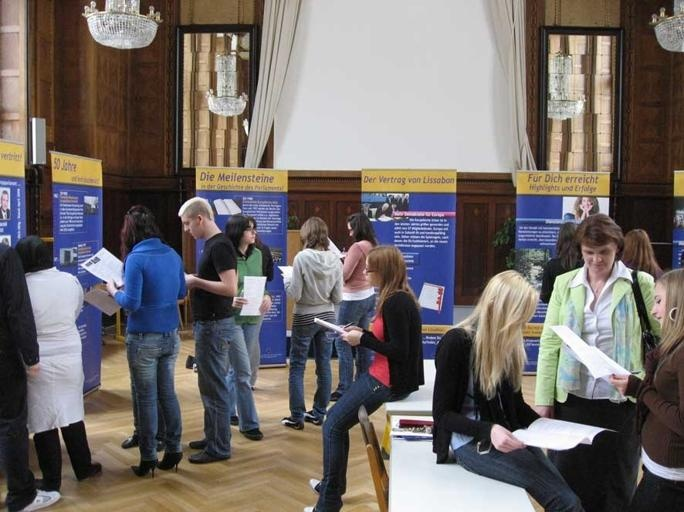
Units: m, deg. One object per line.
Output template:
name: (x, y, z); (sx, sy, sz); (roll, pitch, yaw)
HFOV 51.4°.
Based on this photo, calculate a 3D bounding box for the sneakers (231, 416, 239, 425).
sneakers: (-1.026, 1.570, 6.792); (0.066, 0.093, 0.216); (2, -11, -2)

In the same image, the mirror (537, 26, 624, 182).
mirror: (3.634, -2.337, 10.828); (1.270, 2.236, 0.346); (1, 10, 0)

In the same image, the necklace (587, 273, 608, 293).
necklace: (1.729, 0.183, 4.834); (0.096, 0.124, 0.138); (4, -36, -2)

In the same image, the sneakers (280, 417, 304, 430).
sneakers: (-0.470, 1.565, 6.722); (0.230, 0.103, 0.089); (5, -1, 33)

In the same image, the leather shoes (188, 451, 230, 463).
leather shoes: (-1.136, 1.712, 6.116); (0.346, 0.141, 0.134); (7, -6, -11)

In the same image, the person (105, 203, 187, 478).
person: (-1.537, 0.707, 5.763); (0.556, 2.190, 0.371); (-2, 11, -15)

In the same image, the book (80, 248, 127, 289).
book: (-1.942, 0.103, 5.883); (0.380, 0.109, 0.289); (37, 46, 17)

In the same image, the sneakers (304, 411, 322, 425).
sneakers: (-0.276, 1.536, 6.811); (0.227, 0.111, 0.087); (11, -3, 34)
